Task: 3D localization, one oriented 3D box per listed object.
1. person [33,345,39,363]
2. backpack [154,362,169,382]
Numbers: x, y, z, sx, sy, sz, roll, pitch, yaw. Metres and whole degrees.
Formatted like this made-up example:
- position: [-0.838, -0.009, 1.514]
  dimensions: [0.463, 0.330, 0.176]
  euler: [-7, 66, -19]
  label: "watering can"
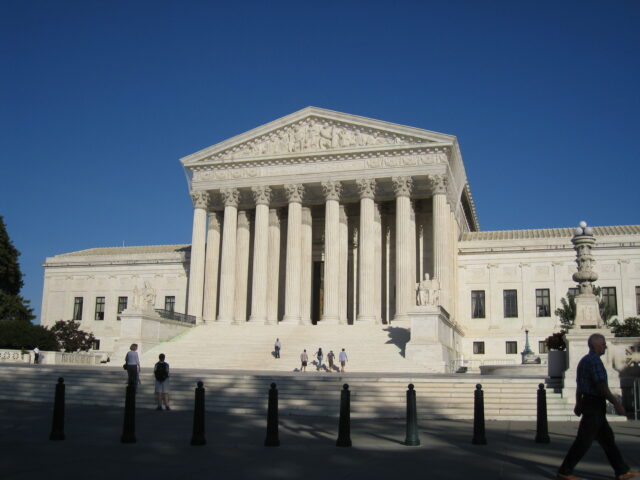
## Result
- position: [-18.930, 7.696, 44.177]
  dimensions: [0.341, 0.966, 1.877]
  euler: [4, -8, -24]
  label: "person"
- position: [-5.664, 4.730, 23.612]
  dimensions: [0.470, 0.702, 0.624]
  euler: [3, -8, -15]
  label: "backpack"
